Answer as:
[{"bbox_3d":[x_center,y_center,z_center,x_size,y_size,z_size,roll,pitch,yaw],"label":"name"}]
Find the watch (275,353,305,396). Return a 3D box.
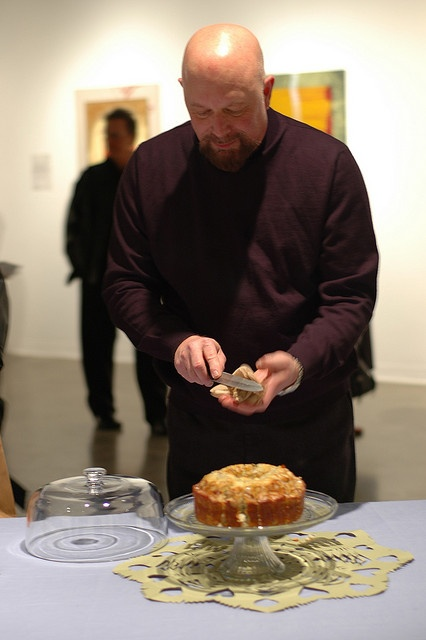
[{"bbox_3d":[0.131,0.105,1.131,0.030,0.076,0.059,19,45,11],"label":"watch"}]

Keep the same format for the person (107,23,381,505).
[{"bbox_3d":[0.060,-0.059,1.327,0.506,0.948,0.533,0,-3,-34],"label":"person"}]

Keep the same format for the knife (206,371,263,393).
[{"bbox_3d":[0.038,0.102,0.983,0.105,0.026,0.007,9,-30,35],"label":"knife"}]
